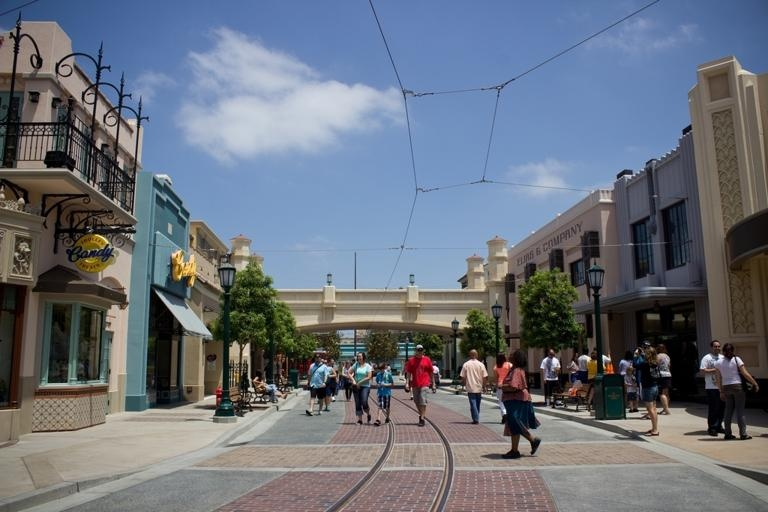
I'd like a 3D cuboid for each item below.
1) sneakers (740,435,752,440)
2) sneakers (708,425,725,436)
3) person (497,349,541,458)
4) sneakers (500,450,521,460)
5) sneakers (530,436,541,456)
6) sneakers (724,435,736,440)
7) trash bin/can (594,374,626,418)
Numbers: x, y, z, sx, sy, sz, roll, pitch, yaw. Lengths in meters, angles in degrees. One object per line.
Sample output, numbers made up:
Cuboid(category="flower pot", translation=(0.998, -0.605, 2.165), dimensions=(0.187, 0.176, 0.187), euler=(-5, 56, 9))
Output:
Cuboid(category="sneakers", translation=(9.406, 4.702, 15.998), dimensions=(0.390, 0.132, 0.173), euler=(6, -18, -30))
Cuboid(category="sneakers", translation=(9.020, 4.745, 16.709), dimensions=(0.196, 0.289, 0.660), euler=(-6, -21, 19))
Cuboid(category="person", translation=(3.115, 3.413, 14.329), dimensions=(1.004, 2.437, 1.002), euler=(-2, -18, 18))
Cuboid(category="sneakers", translation=(2.952, 4.617, 14.306), dimensions=(0.398, 0.185, 0.195), euler=(2, -8, 0))
Cuboid(category="sneakers", translation=(3.554, 4.508, 14.480), dimensions=(0.229, 0.625, 0.215), euler=(-2, 21, -5))
Cuboid(category="sneakers", translation=(8.996, 4.701, 16.000), dimensions=(0.405, 0.142, 0.152), euler=(3, -16, -22))
Cuboid(category="trash bin/can", translation=(7.556, 4.604, 20.023), dimensions=(1.260, 1.433, 1.336), euler=(-4, -15, 14))
